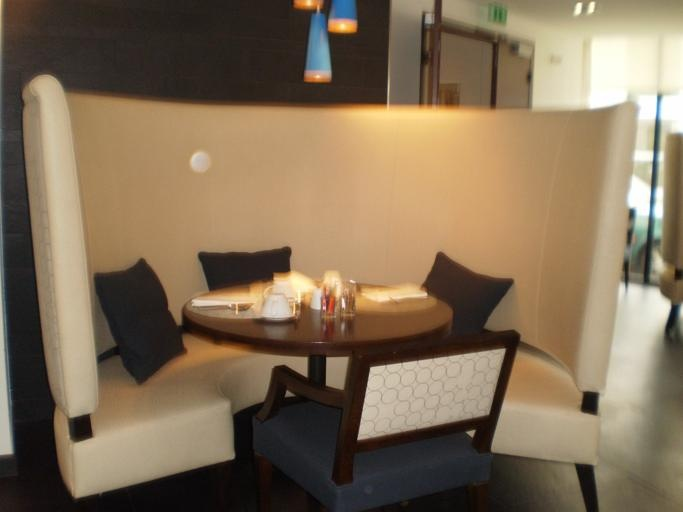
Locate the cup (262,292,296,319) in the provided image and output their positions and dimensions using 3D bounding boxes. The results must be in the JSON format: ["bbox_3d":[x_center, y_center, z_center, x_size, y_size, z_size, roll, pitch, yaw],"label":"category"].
[{"bbox_3d":[-0.290,0.236,2.709,0.158,0.118,0.071,-5,13,-10],"label":"cup"}]

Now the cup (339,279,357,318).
[{"bbox_3d":[0.028,0.204,2.792,0.074,0.153,0.129,-3,13,-1],"label":"cup"}]

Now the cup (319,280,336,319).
[{"bbox_3d":[-0.059,0.205,2.855,0.079,0.122,0.223,-3,13,-1],"label":"cup"}]

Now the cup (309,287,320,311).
[{"bbox_3d":[-0.118,0.223,2.940,0.079,0.095,0.080,7,3,0],"label":"cup"}]
